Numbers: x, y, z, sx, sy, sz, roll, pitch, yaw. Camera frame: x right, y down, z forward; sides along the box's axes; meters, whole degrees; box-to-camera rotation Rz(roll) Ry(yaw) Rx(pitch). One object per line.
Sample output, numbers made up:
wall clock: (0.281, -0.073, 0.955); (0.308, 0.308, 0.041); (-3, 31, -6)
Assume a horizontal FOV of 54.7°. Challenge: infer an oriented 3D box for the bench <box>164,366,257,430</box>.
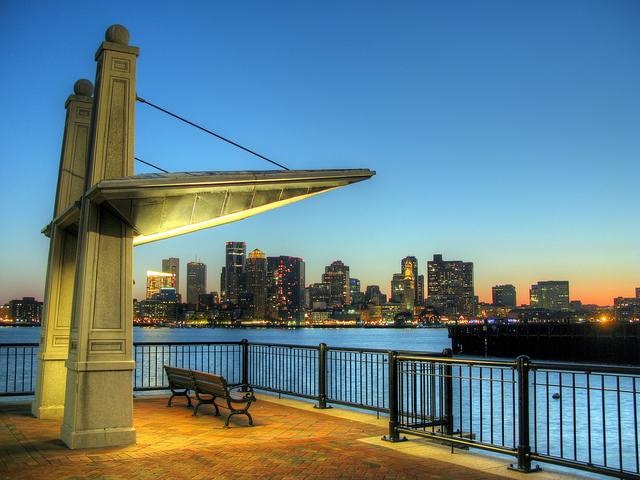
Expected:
bench: (-2.597, 3.518, 14.265); (0.839, 1.075, 3.389); (3, -7, -35)
